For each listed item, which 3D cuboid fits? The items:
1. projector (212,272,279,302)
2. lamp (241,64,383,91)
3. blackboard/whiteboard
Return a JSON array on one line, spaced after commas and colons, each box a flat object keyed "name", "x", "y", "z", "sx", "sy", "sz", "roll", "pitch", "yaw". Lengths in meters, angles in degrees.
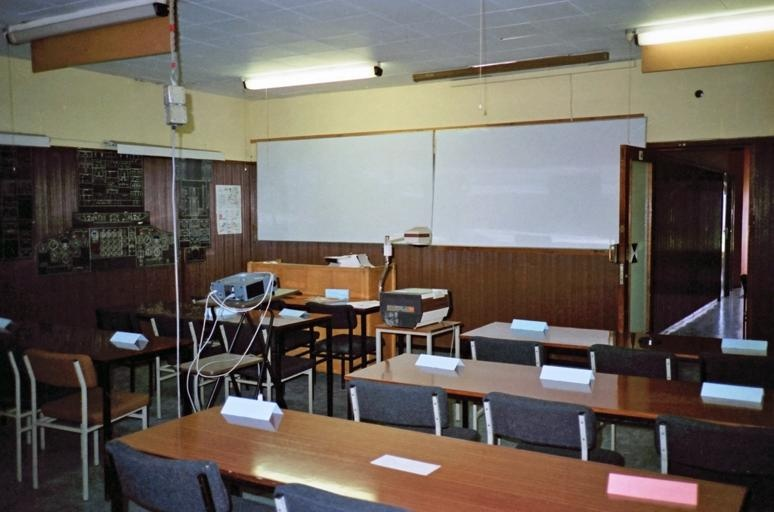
[{"name": "projector", "x": -0.796, "y": 0.183, "z": 3.419, "sx": 0.292, "sy": 0.134, "sz": 0.333, "roll": -2, "pitch": 7, "yaw": -6}, {"name": "lamp", "x": -0.875, "y": -2.228, "z": 7.592, "sx": 1.887, "sy": 0.161, "sz": 0.563, "roll": 2, "pitch": 6, "yaw": 24}, {"name": "blackboard/whiteboard", "x": 0.664, "y": -0.884, "z": 7.789, "sx": 4.917, "sy": 1.505, "sz": 0.533, "roll": 1, "pitch": 6, "yaw": 19}]
